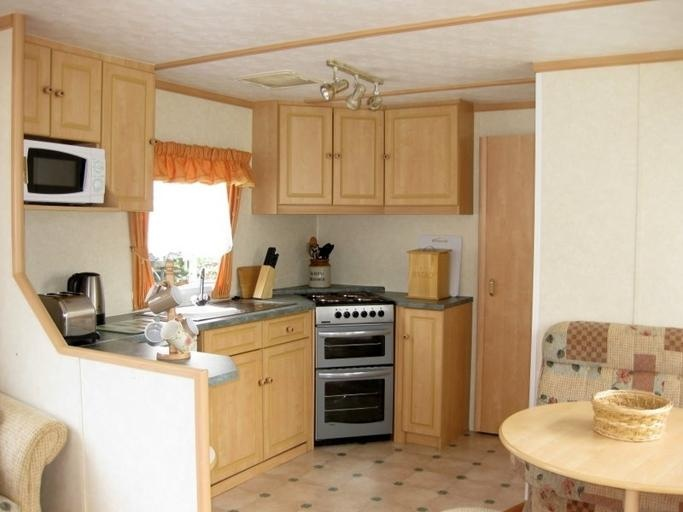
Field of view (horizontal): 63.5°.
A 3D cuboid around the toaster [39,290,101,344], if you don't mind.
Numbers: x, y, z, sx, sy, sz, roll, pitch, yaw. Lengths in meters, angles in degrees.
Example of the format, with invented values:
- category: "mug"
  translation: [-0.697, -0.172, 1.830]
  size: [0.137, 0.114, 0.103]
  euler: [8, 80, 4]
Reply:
- category: "toaster"
  translation: [-1.508, 0.320, 3.152]
  size: [0.262, 0.321, 0.481]
  euler: [-8, 10, -41]

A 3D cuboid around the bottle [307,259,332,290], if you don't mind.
- category: "bottle"
  translation: [-0.206, 0.159, 5.129]
  size: [0.266, 0.249, 0.253]
  euler: [-2, 4, -33]

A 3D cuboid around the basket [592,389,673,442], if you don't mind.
- category: "basket"
  translation: [1.220, 0.683, 2.404]
  size: [0.237, 0.091, 0.257]
  euler: [0, -1, -10]

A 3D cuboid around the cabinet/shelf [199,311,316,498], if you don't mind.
- category: "cabinet/shelf"
  translation: [-0.785, 1.002, 4.091]
  size: [0.517, 1.167, 1.389]
  euler: [-2, -2, 27]

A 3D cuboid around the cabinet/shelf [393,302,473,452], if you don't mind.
- category: "cabinet/shelf"
  translation: [0.815, 0.947, 4.584]
  size: [0.736, 1.157, 0.328]
  euler: [-3, 5, -30]

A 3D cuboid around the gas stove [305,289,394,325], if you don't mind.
- category: "gas stove"
  translation: [0.067, 0.428, 4.690]
  size: [0.661, 0.193, 0.561]
  euler: [-1, 3, -11]

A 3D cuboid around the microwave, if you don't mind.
- category: "microwave"
  translation: [-1.523, -0.460, 3.057]
  size: [0.369, 0.335, 0.562]
  euler: [3, 3, 30]

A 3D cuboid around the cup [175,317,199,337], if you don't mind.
- category: "cup"
  translation: [-0.781, 0.336, 2.783]
  size: [0.044, 0.093, 0.100]
  euler: [-39, 40, 11]

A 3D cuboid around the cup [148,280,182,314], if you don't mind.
- category: "cup"
  translation: [-0.905, 0.215, 2.810]
  size: [0.141, 0.151, 0.166]
  euler: [-4, 5, -33]

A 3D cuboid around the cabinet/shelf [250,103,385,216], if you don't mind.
- category: "cabinet/shelf"
  translation: [-0.245, -0.845, 4.588]
  size: [1.090, 0.762, 0.387]
  euler: [0, 0, -19]

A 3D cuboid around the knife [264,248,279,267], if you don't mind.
- category: "knife"
  translation: [-0.611, 0.001, 4.705]
  size: [0.115, 0.164, 0.189]
  euler: [-2, 4, -9]

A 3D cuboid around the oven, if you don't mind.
- category: "oven"
  translation: [-0.040, 1.031, 4.719]
  size: [0.899, 0.870, 0.781]
  euler: [1, -8, -12]

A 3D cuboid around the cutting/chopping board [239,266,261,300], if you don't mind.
- category: "cutting/chopping board"
  translation: [-0.780, 0.225, 4.635]
  size: [0.031, 0.249, 0.279]
  euler: [4, 8, 36]
